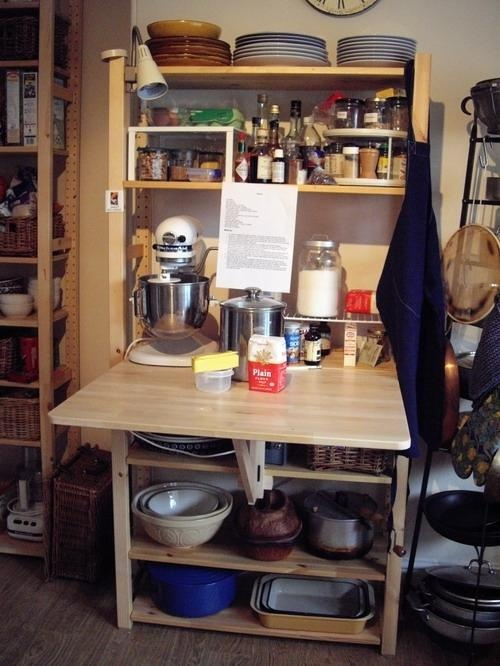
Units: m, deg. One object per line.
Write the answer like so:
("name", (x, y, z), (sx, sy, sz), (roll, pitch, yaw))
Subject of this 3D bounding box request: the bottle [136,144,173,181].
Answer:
("bottle", (-0.314, -0.561, 1.996), (0.128, 0.114, 0.125), (-4, 20, -18))

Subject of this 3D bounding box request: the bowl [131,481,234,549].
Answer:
("bowl", (-0.226, 0.587, 1.954), (0.217, 0.093, 0.212), (2, -4, 0))

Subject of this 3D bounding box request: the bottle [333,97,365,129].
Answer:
("bottle", (0.302, -0.669, 1.847), (0.103, 0.092, 0.100), (3, 15, 8))

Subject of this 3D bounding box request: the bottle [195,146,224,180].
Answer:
("bottle", (-0.127, -0.550, 1.944), (0.102, 0.108, 0.102), (12, 17, 33))

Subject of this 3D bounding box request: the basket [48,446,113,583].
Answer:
("basket", (-0.617, 0.685, 2.259), (0.228, 0.398, 0.307), (-3, 11, 7))

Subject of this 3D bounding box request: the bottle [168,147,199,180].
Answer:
("bottle", (-0.222, -0.542, 1.927), (0.095, 0.096, 0.104), (2, 1, 13))

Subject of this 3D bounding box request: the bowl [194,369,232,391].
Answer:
("bowl", (-0.102, 0.125, 1.631), (0.075, 0.034, 0.065), (1, 6, 9))

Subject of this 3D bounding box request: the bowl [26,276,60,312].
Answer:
("bowl", (-0.817, -0.161, 2.371), (0.132, 0.134, 0.132), (3, 16, -1))

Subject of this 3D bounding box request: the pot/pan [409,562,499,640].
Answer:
("pot/pan", (0.649, 0.836, 1.895), (0.290, 0.123, 0.232), (1, 2, 1))
